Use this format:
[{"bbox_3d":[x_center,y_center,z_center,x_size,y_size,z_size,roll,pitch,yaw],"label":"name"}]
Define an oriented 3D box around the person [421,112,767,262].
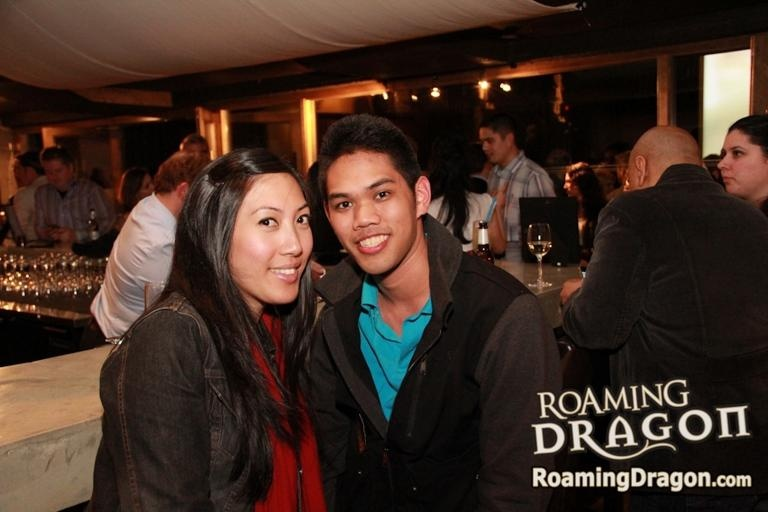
[{"bbox_3d":[1.406,-0.470,3.973,1.450,0.562,0.444,5,-21,9],"label":"person"}]
